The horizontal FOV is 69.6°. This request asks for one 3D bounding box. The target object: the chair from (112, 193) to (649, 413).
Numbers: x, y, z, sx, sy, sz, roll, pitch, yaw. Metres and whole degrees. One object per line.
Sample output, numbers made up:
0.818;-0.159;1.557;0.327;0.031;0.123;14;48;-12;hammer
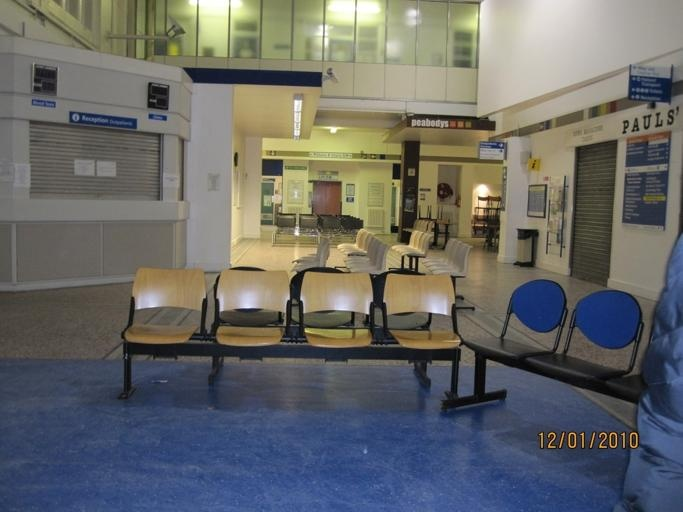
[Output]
0.279;0.639;4.188;3.823;1.028;1.757;4;7;13;chair
